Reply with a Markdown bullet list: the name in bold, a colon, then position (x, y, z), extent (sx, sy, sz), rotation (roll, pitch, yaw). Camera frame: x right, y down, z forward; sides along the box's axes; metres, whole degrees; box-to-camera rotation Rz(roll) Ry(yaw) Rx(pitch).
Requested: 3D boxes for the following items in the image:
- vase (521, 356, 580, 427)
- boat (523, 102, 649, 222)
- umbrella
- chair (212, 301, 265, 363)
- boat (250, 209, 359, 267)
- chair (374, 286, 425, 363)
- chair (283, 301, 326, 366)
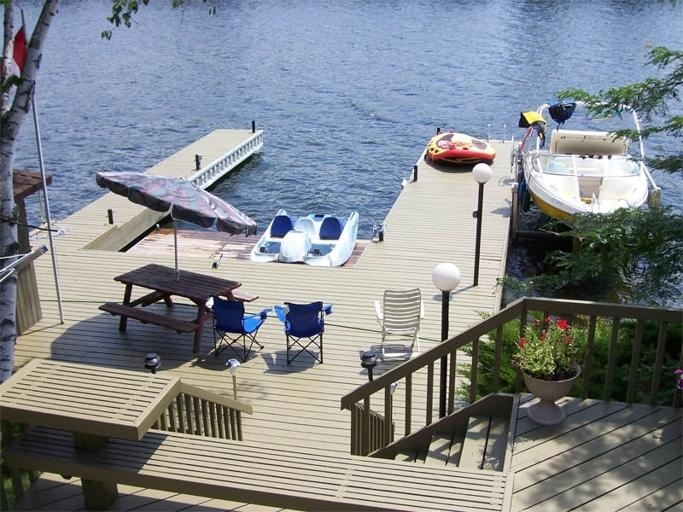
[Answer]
- **vase**: position (2.554, 1.646, 11.409), extent (0.718, 0.741, 0.653), rotation (9, 16, 16)
- **boat**: position (6.028, -2.273, 22.667), extent (3.132, 2.550, 5.616), rotation (8, 17, 9)
- **umbrella**: position (-2.831, -0.868, 15.687), extent (2.628, 0.942, 0.841), rotation (6, 19, 6)
- **chair**: position (-1.806, 1.165, 15.924), extent (0.900, 1.057, 0.932), rotation (-4, 23, -42)
- **boat**: position (-0.865, -0.388, 21.328), extent (2.155, 0.970, 2.694), rotation (7, 17, 8)
- **chair**: position (1.044, 1.137, 16.051), extent (1.356, 1.515, 1.200), rotation (-2, 25, 2)
- **chair**: position (-0.637, 1.220, 15.811), extent (0.718, 1.127, 0.834), rotation (4, 20, -4)
